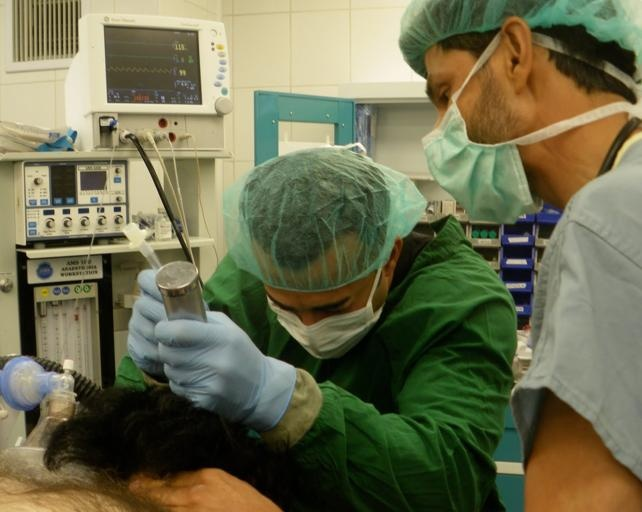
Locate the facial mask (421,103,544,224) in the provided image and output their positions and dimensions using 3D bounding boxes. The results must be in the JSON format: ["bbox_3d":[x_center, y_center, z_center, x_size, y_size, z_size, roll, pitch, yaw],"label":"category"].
[{"bbox_3d":[0.364,-0.196,1.459,0.213,0.277,0.181,11,12,12],"label":"facial mask"}]
